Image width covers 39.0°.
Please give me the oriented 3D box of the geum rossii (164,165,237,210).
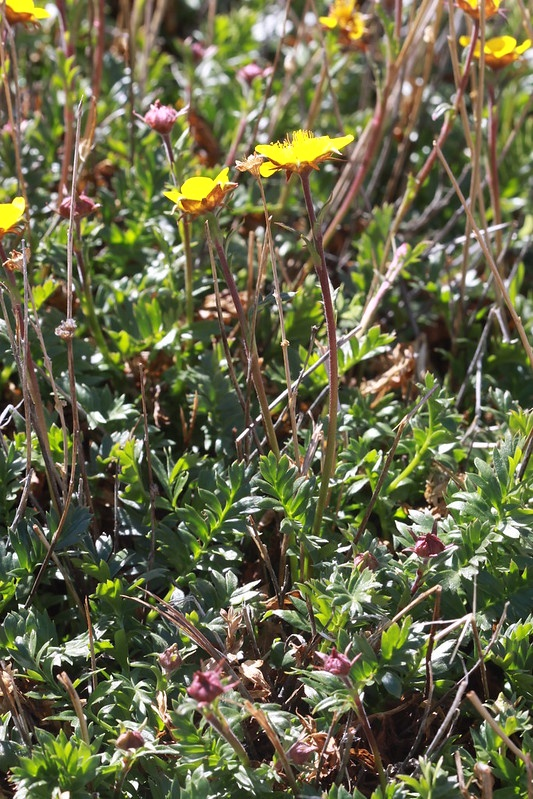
[{"bbox_3d":[-0.081,-0.248,0.923,0.069,0.034,0.077,-33,31,-25],"label":"geum rossii"}]
